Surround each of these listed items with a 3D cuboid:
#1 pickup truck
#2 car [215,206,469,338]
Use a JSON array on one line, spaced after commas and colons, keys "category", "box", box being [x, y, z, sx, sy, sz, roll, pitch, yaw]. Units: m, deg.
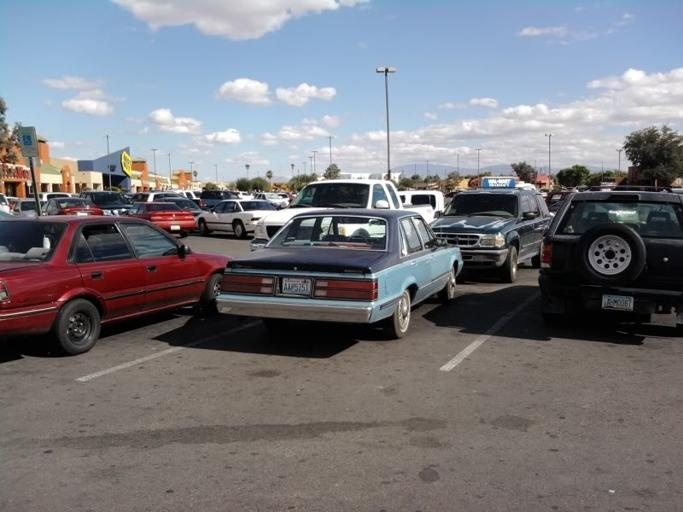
[{"category": "pickup truck", "box": [0.799, -1.017, 13.681, 2.146, 1.557, 4.471, 2, 3, 34]}, {"category": "car", "box": [0.456, 0.138, 7.307, 1.720, 1.142, 3.517, 1, 4, 25]}]
